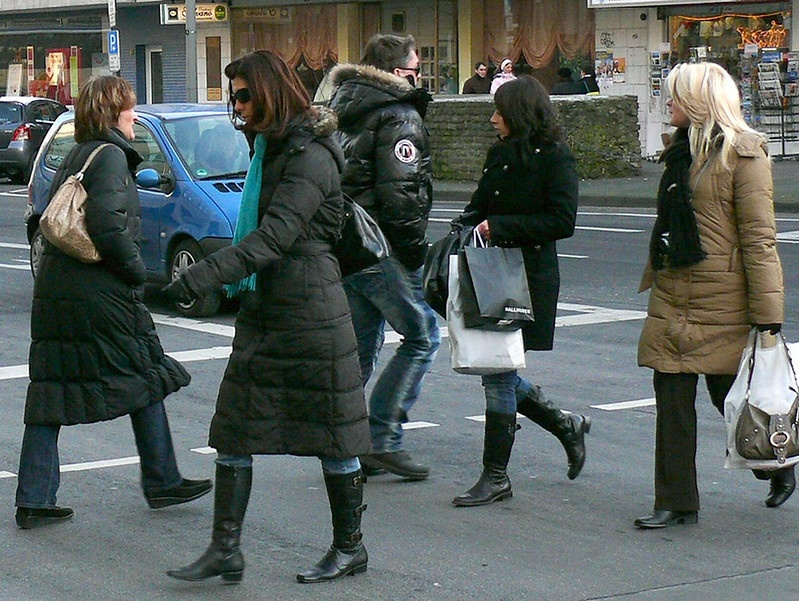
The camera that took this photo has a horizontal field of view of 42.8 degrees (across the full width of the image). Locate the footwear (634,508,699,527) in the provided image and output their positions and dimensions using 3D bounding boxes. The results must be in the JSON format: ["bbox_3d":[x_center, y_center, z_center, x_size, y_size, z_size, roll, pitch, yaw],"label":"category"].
[{"bbox_3d":[1.315,1.077,5.087,0.296,0.119,0.112,1,2,-9],"label":"footwear"}]

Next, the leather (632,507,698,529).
[{"bbox_3d":[1.310,1.079,5.085,0.302,0.120,0.114,1,1,-9],"label":"leather"}]

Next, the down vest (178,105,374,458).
[{"bbox_3d":[-0.504,-0.062,4.370,0.710,1.492,0.451,-3,11,-11],"label":"down vest"}]

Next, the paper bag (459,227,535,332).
[{"bbox_3d":[0.481,-0.057,5.243,0.346,0.419,0.209,-3,11,-15],"label":"paper bag"}]

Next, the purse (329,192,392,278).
[{"bbox_3d":[-0.186,-0.331,4.899,0.185,0.354,0.362,-22,-16,-12],"label":"purse"}]

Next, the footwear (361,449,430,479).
[{"bbox_3d":[-0.007,0.926,5.826,0.450,0.188,0.149,1,10,-11],"label":"footwear"}]

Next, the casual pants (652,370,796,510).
[{"bbox_3d":[1.629,0.712,5.111,0.795,0.676,0.273,2,-4,-30],"label":"casual pants"}]

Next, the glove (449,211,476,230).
[{"bbox_3d":[0.356,-0.441,5.609,0.114,0.047,0.114,-4,-2,8],"label":"glove"}]

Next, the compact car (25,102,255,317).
[{"bbox_3d":[-2.625,-1.120,11.404,3.381,1.710,2.148,1,4,36],"label":"compact car"}]

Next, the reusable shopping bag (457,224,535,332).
[{"bbox_3d":[0.495,-0.122,5.283,0.393,0.472,0.207,-1,-9,-27],"label":"reusable shopping bag"}]

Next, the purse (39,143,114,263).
[{"bbox_3d":[-1.567,-0.514,5.012,0.280,0.474,0.394,-5,17,-33],"label":"purse"}]
